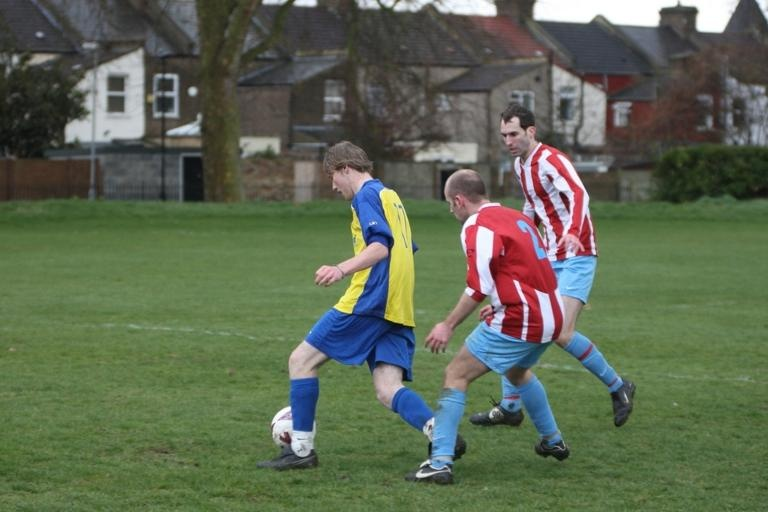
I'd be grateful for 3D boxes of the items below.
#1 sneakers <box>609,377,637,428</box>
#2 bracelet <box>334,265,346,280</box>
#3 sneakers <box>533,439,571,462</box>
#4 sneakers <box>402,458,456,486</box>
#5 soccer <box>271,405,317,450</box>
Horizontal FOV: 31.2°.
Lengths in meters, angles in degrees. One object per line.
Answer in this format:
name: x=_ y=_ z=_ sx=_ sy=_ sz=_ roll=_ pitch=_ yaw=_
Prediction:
sneakers: x=2.840 y=1.743 z=16.155 sx=0.313 sy=0.584 sz=0.212 roll=16 pitch=-14 yaw=-19
bracelet: x=-0.474 y=0.191 z=15.145 sx=0.059 sy=0.139 sz=0.120 roll=-37 pitch=-17 yaw=-1
sneakers: x=1.919 y=2.214 z=15.555 sx=0.496 sy=0.208 sz=0.175 roll=3 pitch=6 yaw=26
sneakers: x=0.511 y=2.429 z=15.327 sx=0.607 sy=0.249 sz=0.210 roll=2 pitch=-11 yaw=11
soccer: x=-0.984 y=2.014 z=15.692 sx=0.498 sy=0.448 sz=0.408 roll=-22 pitch=-16 yaw=25
